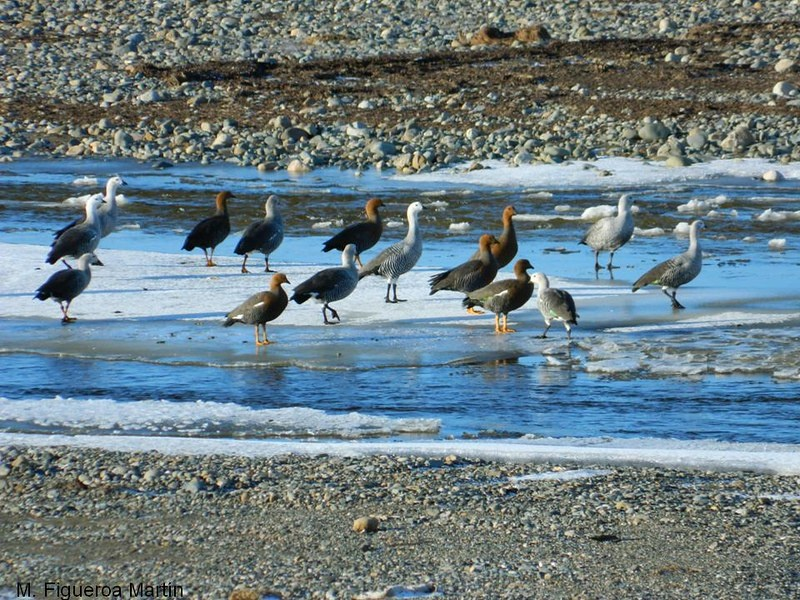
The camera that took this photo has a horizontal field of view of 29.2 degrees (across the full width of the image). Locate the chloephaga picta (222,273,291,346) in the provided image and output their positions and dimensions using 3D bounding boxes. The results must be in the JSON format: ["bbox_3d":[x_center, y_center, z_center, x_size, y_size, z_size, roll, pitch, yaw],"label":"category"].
[{"bbox_3d":[-2.473,0.138,26.924,0.894,1.137,1.088,4,15,22],"label":"chloephaga picta"}]

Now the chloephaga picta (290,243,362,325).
[{"bbox_3d":[-1.327,-0.281,27.929,0.798,1.366,1.186,3,16,22],"label":"chloephaga picta"}]
